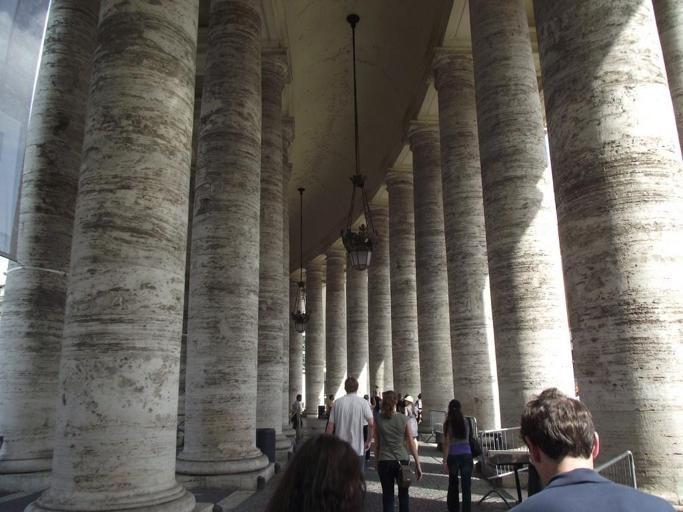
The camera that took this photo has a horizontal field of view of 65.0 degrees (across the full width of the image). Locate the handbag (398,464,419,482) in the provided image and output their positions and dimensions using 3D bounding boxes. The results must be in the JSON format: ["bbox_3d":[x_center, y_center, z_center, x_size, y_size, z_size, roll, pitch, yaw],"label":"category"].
[{"bbox_3d":[1.095,3.604,8.884,0.361,0.328,0.205,15,-29,-31],"label":"handbag"}]
